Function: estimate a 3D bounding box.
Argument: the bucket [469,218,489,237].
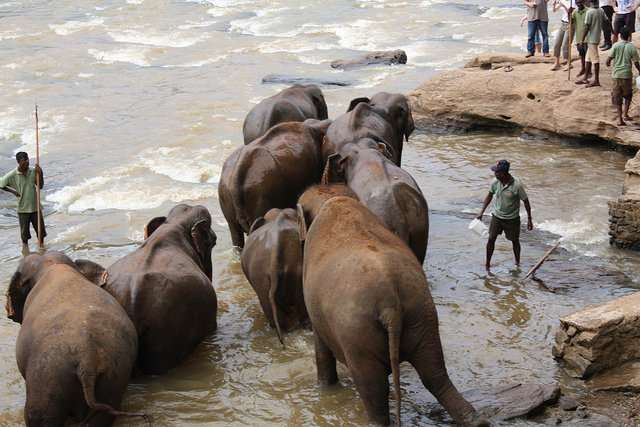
[{"bbox_3d":[2.736,0.255,17.606,0.211,0.265,0.165,-55,8,-30],"label":"bucket"}]

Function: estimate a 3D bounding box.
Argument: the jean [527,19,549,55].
[{"bbox_3d":[5.024,-4.085,23.474,0.454,0.798,0.453,1,20,12],"label":"jean"}]

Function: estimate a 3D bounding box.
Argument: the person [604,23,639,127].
[{"bbox_3d":[6.037,-2.745,20.397,0.597,1.967,1.223,2,20,14],"label":"person"}]

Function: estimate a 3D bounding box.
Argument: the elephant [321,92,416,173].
[{"bbox_3d":[0.976,-1.570,17.973,0.962,1.161,2.107,12,35,29],"label":"elephant"}]

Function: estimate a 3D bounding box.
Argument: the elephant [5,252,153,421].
[{"bbox_3d":[-3.581,1.905,14.682,1.488,1.534,3.130,-3,34,-20],"label":"elephant"}]

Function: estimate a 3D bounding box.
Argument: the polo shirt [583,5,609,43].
[{"bbox_3d":[5.539,-3.817,20.621,0.393,0.707,0.505,2,20,13],"label":"polo shirt"}]

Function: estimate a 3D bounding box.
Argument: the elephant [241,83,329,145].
[{"bbox_3d":[-0.562,-1.974,19.149,0.868,1.037,2.065,9,32,26],"label":"elephant"}]

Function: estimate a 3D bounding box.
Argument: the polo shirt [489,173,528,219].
[{"bbox_3d":[3.212,-0.262,17.443,0.873,0.752,0.485,10,15,41],"label":"polo shirt"}]

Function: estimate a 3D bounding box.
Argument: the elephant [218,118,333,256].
[{"bbox_3d":[-0.530,-0.587,18.222,1.622,2.200,3.138,9,25,28],"label":"elephant"}]

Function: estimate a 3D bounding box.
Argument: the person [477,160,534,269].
[{"bbox_3d":[3.086,-0.027,17.091,0.864,1.671,0.809,4,21,18],"label":"person"}]

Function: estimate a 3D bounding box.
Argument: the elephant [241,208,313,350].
[{"bbox_3d":[-0.502,0.850,16.934,1.431,1.771,3.109,-7,10,6],"label":"elephant"}]
